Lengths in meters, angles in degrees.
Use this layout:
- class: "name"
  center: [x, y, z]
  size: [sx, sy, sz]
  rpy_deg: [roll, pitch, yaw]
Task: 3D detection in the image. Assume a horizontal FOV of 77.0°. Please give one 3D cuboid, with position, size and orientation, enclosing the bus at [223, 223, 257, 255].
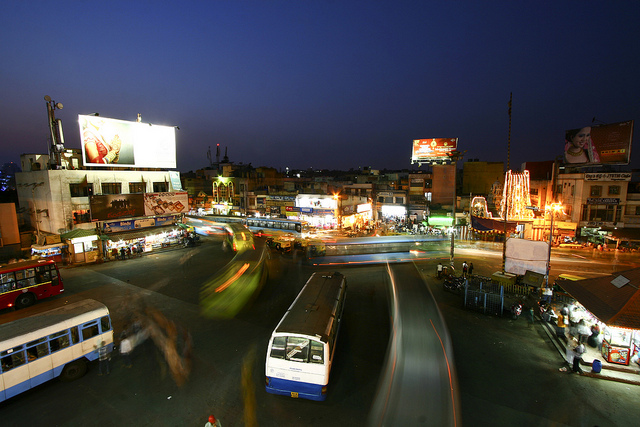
- class: "bus"
  center: [-10.432, 3.262, 52.664]
  size: [2.543, 2.553, 8.340]
  rpy_deg: [-8, 4, -19]

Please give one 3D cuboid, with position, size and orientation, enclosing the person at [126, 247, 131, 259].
- class: "person"
  center: [-23.628, 4.895, 49.662]
  size: [0.715, 1.427, 0.385]
  rpy_deg: [-9, -10, 30]

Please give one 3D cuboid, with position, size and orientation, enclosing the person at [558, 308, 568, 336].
- class: "person"
  center: [20.015, 9.001, 33.143]
  size: [0.551, 1.833, 1.580]
  rpy_deg: [1, 7, 32]

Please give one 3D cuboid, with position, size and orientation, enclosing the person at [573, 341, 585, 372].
- class: "person"
  center: [19.384, 10.876, 30.182]
  size: [1.159, 1.809, 0.443]
  rpy_deg: [-8, 8, -42]

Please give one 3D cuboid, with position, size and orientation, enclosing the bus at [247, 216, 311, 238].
- class: "bus"
  center: [-7.328, 3.467, 69.139]
  size: [14.629, 3.683, 4.104]
  rpy_deg: [3, 9, 29]

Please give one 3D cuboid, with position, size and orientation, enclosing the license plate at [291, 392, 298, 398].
- class: "license plate"
  center: [-1.744, 12.545, 27.805]
  size: [0.448, 0.325, 0.063]
  rpy_deg: [1, 11, 10]

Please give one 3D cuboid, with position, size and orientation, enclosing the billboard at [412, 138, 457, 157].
- class: "billboard"
  center: [18.175, -10.567, 64.321]
  size: [6.203, 2.854, 4.052]
  rpy_deg: [-1, 6, 15]

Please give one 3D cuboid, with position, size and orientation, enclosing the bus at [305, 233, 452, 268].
- class: "bus"
  center: [8.381, 5.317, 54.500]
  size: [18.366, 4.277, 3.924]
  rpy_deg: [-2, 0, 10]

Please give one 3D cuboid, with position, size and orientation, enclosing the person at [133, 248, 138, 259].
- class: "person"
  center: [-23.131, 4.933, 50.290]
  size: [0.536, 1.088, 1.090]
  rpy_deg: [-5, 6, -25]

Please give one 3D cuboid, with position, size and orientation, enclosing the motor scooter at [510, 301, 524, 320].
- class: "motor scooter"
  center: [17.247, 8.528, 35.335]
  size: [1.146, 1.423, 0.540]
  rpy_deg: [-7, 8, -37]
